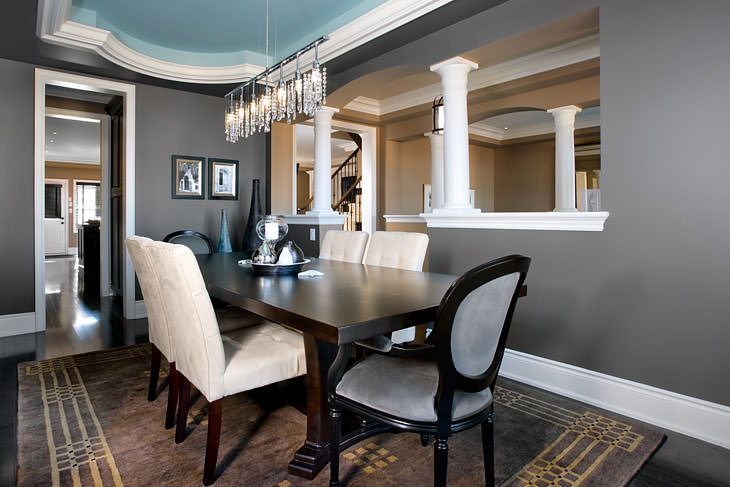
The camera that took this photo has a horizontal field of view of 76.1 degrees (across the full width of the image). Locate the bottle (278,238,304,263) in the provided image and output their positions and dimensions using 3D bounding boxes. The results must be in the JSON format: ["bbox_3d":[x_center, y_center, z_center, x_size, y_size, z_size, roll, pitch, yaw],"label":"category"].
[{"bbox_3d":[-0.639,0.063,3.905,0.202,0.193,0.200,2,-4,-41],"label":"bottle"}]

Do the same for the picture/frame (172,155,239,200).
[{"bbox_3d":[-2.184,-0.888,6.251,0.658,0.446,0.032,-2,7,-42],"label":"picture/frame"}]

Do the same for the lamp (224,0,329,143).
[{"bbox_3d":[-0.923,-1.571,4.755,0.961,1.058,2.380,-2,5,-7],"label":"lamp"}]
